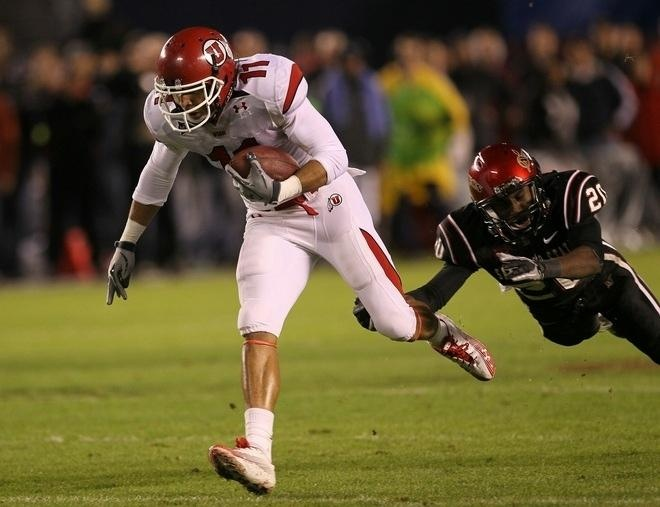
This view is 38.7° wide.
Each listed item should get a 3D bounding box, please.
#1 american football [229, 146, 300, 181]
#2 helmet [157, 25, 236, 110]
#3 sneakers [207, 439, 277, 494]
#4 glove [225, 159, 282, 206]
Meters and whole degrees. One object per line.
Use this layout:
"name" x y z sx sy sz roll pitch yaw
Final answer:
"american football" -0.273 -0.362 4.072 0.236 0.142 0.160 -5 28 21
"helmet" -0.570 -0.796 4.163 0.278 0.313 0.387 -23 -11 31
"sneakers" -0.342 0.834 3.637 0.081 0.236 0.125 -32 32 28
"glove" -0.316 -0.276 3.890 0.151 0.237 0.114 -38 -7 32
